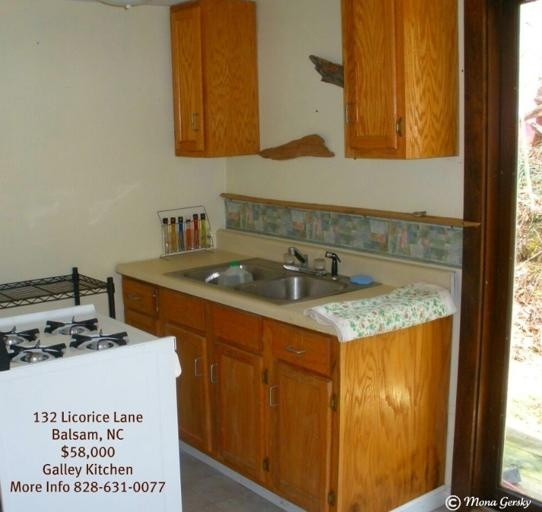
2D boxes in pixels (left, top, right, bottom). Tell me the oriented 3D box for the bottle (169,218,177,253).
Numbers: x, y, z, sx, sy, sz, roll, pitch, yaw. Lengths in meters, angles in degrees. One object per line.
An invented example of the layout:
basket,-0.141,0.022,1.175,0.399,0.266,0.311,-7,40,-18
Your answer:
bottle,-0.583,-0.127,3.016,0.046,0.213,0.048,-4,8,1

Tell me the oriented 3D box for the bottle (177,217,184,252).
bottle,-0.545,-0.134,3.043,0.042,0.215,0.059,-8,9,-23

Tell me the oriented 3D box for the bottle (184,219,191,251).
bottle,-0.503,-0.132,3.080,0.046,0.200,0.046,-4,8,1

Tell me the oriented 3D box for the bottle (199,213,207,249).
bottle,-0.425,-0.163,3.149,0.057,0.219,0.115,-5,9,-8

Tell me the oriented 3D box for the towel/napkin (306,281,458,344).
towel/napkin,0.458,0.227,2.016,0.683,0.160,0.250,-11,11,-32

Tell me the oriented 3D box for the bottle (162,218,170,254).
bottle,-0.623,-0.118,2.993,0.046,0.220,0.065,-6,8,-14
